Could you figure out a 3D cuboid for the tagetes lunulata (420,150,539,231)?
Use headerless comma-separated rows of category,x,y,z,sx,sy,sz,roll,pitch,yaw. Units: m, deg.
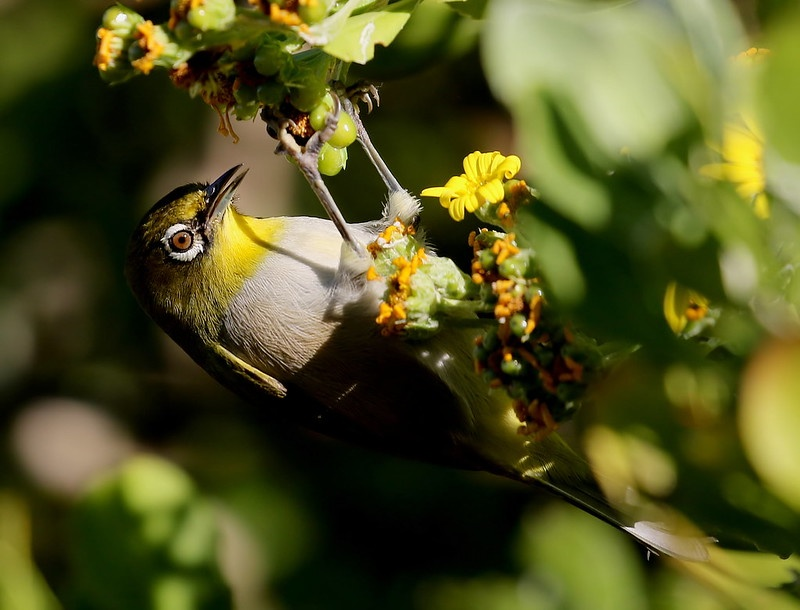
tagetes lunulata,0.124,-0.172,1.242,0.049,0.123,0.125,44,84,-19

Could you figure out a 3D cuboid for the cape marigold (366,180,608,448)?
cape marigold,0.147,-0.051,1.246,0.175,0.276,0.396,-42,51,-15

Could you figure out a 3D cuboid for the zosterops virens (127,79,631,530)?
zosterops virens,-0.155,0.058,1.588,1.034,0.695,0.415,-7,31,-7
